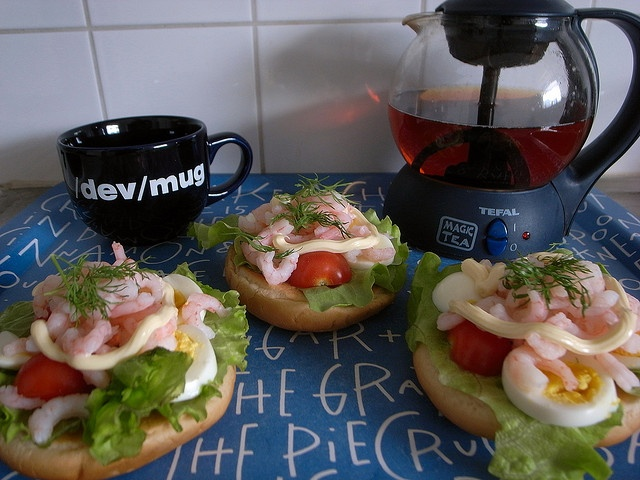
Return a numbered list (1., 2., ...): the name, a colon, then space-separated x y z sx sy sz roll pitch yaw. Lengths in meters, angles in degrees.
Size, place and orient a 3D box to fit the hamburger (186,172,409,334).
1. hamburger: -0.058 0.028 1.036 0.433 0.164 0.425 3 27 -5
